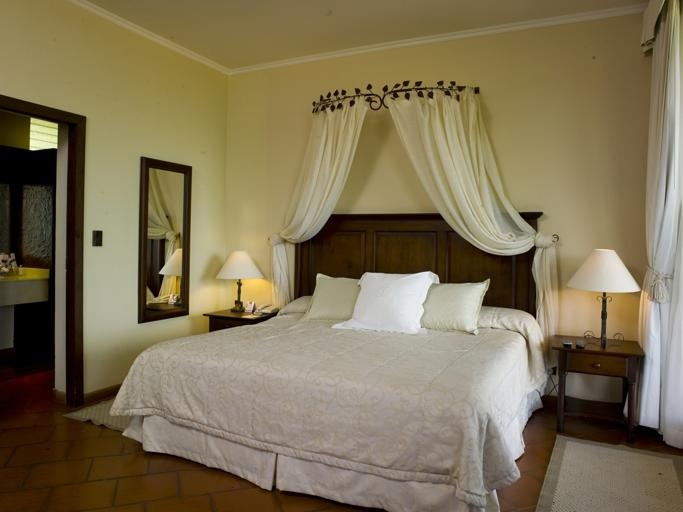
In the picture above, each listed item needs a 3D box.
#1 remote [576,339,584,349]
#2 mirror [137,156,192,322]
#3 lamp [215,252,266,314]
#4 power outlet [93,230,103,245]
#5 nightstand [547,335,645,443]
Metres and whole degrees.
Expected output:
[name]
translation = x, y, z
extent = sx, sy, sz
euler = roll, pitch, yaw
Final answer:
[remote]
translation = 1.945, 0.718, 4.225
extent = 0.070, 0.076, 0.040
euler = 2, 2, 36
[mirror]
translation = -1.797, -0.218, 5.291
extent = 0.047, 1.561, 0.611
euler = 3, 2, 33
[lamp]
translation = -1.020, 0.310, 5.709
extent = 0.565, 0.798, 0.573
euler = 0, -4, 5
[power outlet]
translation = -2.228, -0.172, 4.697
extent = 0.017, 0.189, 0.125
euler = 0, 1, 31
[nightstand]
translation = 2.147, 1.048, 4.372
extent = 0.673, 0.820, 0.573
euler = 3, 15, 30
